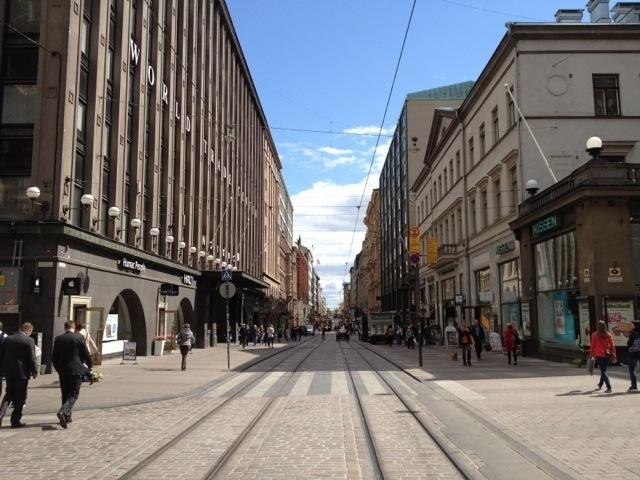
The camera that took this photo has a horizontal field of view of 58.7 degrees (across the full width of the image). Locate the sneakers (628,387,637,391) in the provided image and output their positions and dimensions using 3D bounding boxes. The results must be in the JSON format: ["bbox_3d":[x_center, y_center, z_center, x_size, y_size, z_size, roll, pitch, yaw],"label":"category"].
[{"bbox_3d":[8.671,4.108,15.729,0.255,0.138,0.104,-2,-6,25],"label":"sneakers"}]

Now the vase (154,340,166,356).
[{"bbox_3d":[-8.457,5.654,30.107,0.529,0.924,0.689,1,-6,-11],"label":"vase"}]

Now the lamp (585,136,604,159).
[{"bbox_3d":[11.175,-3.742,23.093,0.467,1.053,1.099,-3,-6,31],"label":"lamp"}]

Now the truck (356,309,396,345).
[{"bbox_3d":[5.466,7.881,51.620,1.951,2.536,4.113,1,-5,0],"label":"truck"}]

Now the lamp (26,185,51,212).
[{"bbox_3d":[-10.312,-1.608,20.651,0.752,0.943,1.306,1,-6,-9],"label":"lamp"}]

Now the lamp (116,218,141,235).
[{"bbox_3d":[-8.762,-0.682,26.360,1.691,0.855,0.563,-7,-6,33],"label":"lamp"}]

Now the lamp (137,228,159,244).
[{"bbox_3d":[-8.567,-0.343,28.782,0.975,0.772,0.467,-4,-6,27],"label":"lamp"}]
